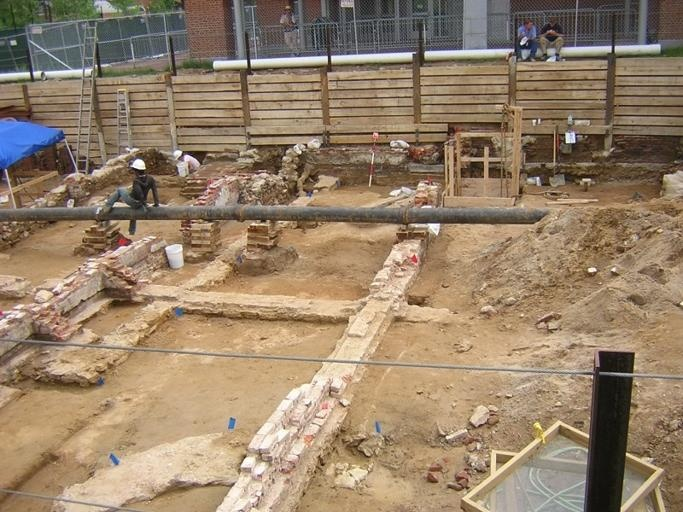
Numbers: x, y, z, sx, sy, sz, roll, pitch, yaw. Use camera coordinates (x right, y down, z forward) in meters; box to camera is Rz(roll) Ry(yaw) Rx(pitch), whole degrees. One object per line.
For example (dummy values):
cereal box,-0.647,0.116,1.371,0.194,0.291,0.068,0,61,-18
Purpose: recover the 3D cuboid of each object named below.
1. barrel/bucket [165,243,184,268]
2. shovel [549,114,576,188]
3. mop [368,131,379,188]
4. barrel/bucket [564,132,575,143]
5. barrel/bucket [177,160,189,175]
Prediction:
barrel/bucket,-4.323,-0.016,14.022,0.700,0.546,0.562,1,19,6
shovel,7.617,-3.617,18.166,0.780,2.351,1.010,5,20,19
mop,1.164,-3.583,19.560,0.316,2.164,0.298,3,-14,28
barrel/bucket,7.777,-4.028,17.988,0.332,0.414,0.532,5,17,19
barrel/bucket,-6.008,-3.321,20.153,0.411,0.556,0.532,-8,18,-18
